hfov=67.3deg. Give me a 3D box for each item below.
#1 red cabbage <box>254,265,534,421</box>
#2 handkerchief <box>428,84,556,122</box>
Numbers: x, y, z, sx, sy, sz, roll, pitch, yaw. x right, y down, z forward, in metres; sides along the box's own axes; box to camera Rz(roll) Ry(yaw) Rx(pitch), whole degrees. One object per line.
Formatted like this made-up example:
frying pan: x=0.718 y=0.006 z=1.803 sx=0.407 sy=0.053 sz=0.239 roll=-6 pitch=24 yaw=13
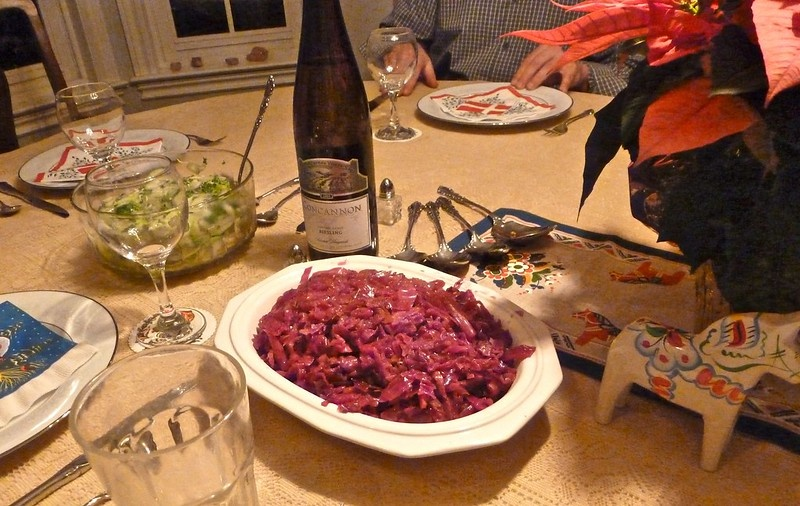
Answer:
red cabbage: x=-0.042 y=0.104 z=1.020 sx=0.466 sy=0.188 sz=0.298 roll=-7 pitch=11 yaw=-23
handkerchief: x=0.275 y=-0.528 z=1.921 sx=0.417 sy=0.056 sz=0.430 roll=1 pitch=22 yaw=5
